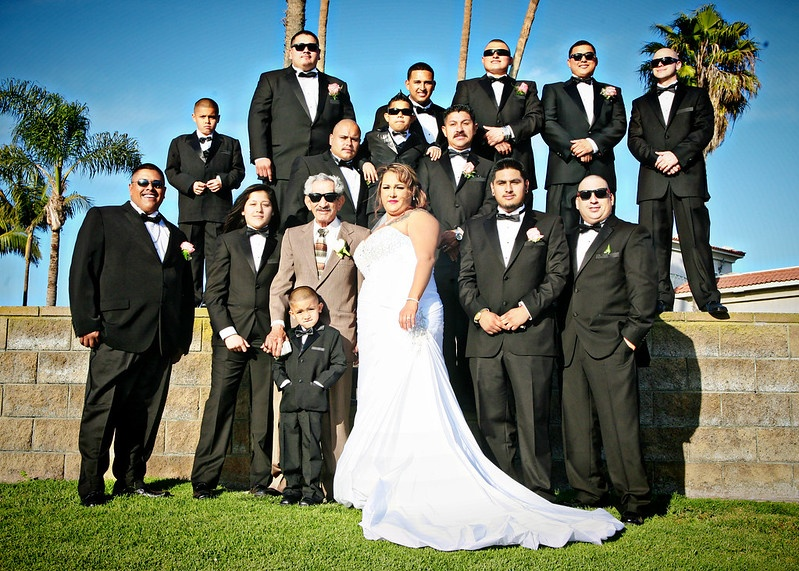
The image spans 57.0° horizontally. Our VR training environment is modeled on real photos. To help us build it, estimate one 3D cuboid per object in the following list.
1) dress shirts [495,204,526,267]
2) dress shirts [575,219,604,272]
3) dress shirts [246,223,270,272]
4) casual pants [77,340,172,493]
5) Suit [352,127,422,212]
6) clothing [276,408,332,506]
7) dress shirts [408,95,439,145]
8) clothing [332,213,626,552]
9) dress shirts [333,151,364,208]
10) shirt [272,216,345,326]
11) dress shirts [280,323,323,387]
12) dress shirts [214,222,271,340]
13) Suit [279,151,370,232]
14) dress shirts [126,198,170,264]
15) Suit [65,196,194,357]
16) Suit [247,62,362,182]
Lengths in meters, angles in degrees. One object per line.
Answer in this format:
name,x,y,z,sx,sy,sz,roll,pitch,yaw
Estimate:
dress shirts,1.155,-0.577,7.767,0.270,0.676,0.114,4,-34,9
dress shirts,1.968,-0.450,7.728,0.338,0.484,0.172,0,-11,44
dress shirts,-1.580,-0.470,8.184,0.298,0.634,0.063,8,-48,-16
casual pants,-2.914,1.391,7.823,0.887,1.597,0.276,1,1,-23
Suit,-0.113,-1.648,8.802,0.973,1.340,0.423,2,-3,14
clothing,-1.015,1.764,7.637,0.464,0.970,0.216,1,1,-6
dress shirts,0.341,-2.102,9.133,0.379,0.546,0.282,0,3,-1
clothing,0.832,1.140,7.491,2.146,2.553,1.924,-1,-7,10
dress shirts,-0.602,-1.242,8.536,0.405,0.559,0.272,3,8,-3
shirt,-1.081,-0.140,8.226,0.686,1.163,0.276,-2,-13,20
dress shirts,-1.028,0.716,7.796,0.436,0.613,0.216,2,4,8
dress shirts,-1.742,-0.081,8.162,0.835,1.129,0.304,3,1,12
Suit,-0.816,-1.103,8.452,0.986,0.908,0.395,2,-7,-8
dress shirts,-2.630,-0.602,7.904,0.453,0.640,0.226,3,-1,-19
Suit,-2.798,-0.061,7.712,0.858,1.722,1.489,-8,-12,37
Suit,-1.218,-2.207,9.428,1.363,1.463,0.701,0,1,-15
